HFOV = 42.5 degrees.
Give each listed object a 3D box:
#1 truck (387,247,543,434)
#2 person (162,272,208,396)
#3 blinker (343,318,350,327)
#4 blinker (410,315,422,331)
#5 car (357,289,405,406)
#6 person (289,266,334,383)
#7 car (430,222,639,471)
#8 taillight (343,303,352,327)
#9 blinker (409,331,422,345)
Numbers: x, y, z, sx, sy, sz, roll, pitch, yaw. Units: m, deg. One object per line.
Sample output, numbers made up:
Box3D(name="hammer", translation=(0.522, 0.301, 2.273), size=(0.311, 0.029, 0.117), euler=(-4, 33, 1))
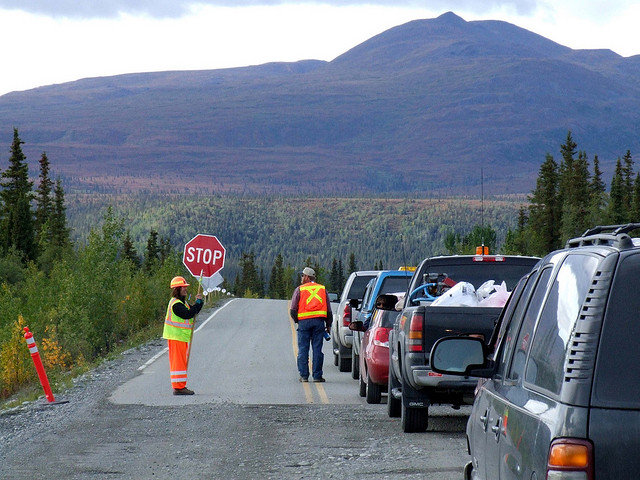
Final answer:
Box3D(name="truck", translation=(1.776, 1.295, 10.576), size=(1.412, 1.731, 2.998), euler=(0, 4, -2))
Box3D(name="person", translation=(-2.565, 1.742, 15.153), size=(0.653, 2.083, 0.726), euler=(-2, 4, -30))
Box3D(name="blinker", translation=(0.596, 1.882, 18.704), size=(0.112, 0.210, 0.268), euler=(-1, 5, -23))
Box3D(name="blinker", translation=(1.167, 1.015, 10.011), size=(0.147, 0.314, 0.150), euler=(-1, -1, 10))
Box3D(name="car", translation=(0.931, 1.870, 13.470), size=(0.689, 0.871, 1.700), euler=(0, 6, -3))
Box3D(name="person", translation=(-0.189, 1.804, 16.787), size=(0.718, 2.514, 0.696), euler=(-3, -27, 6))
Box3D(name="car", translation=(1.351, 0.756, 4.998), size=(1.023, 1.197, 1.854), euler=(0, 2, -7))
Box3D(name="taillight", translation=(0.614, 1.719, 18.832), size=(0.232, 0.261, 0.442), euler=(-1, 4, 1))
Box3D(name="blinker", translation=(1.151, 1.199, 10.038), size=(0.126, 0.156, 0.140), euler=(1, -8, -8))
